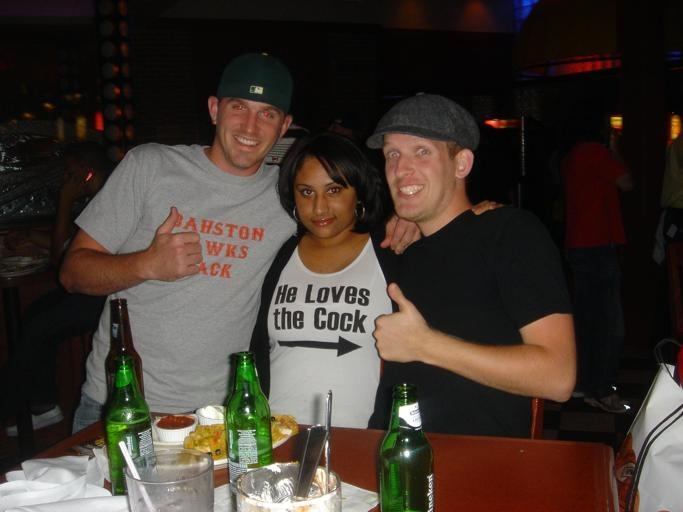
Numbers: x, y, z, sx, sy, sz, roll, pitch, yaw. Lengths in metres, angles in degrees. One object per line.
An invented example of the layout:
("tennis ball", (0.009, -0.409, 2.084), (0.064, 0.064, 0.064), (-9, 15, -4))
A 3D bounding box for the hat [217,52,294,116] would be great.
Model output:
("hat", (-0.383, -0.707, 2.441), (0.268, 0.180, 0.263), (24, 10, 37))

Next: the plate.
("plate", (-0.300, 0.533, 1.697), (0.278, 0.037, 0.187), (-2, 6, -31))

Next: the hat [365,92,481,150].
("hat", (0.316, -0.453, 2.118), (0.317, 0.159, 0.229), (8, 4, -20))

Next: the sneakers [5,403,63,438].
("sneakers", (-2.072, 1.082, 3.948), (0.275, 0.136, 0.349), (-18, 2, -38))
